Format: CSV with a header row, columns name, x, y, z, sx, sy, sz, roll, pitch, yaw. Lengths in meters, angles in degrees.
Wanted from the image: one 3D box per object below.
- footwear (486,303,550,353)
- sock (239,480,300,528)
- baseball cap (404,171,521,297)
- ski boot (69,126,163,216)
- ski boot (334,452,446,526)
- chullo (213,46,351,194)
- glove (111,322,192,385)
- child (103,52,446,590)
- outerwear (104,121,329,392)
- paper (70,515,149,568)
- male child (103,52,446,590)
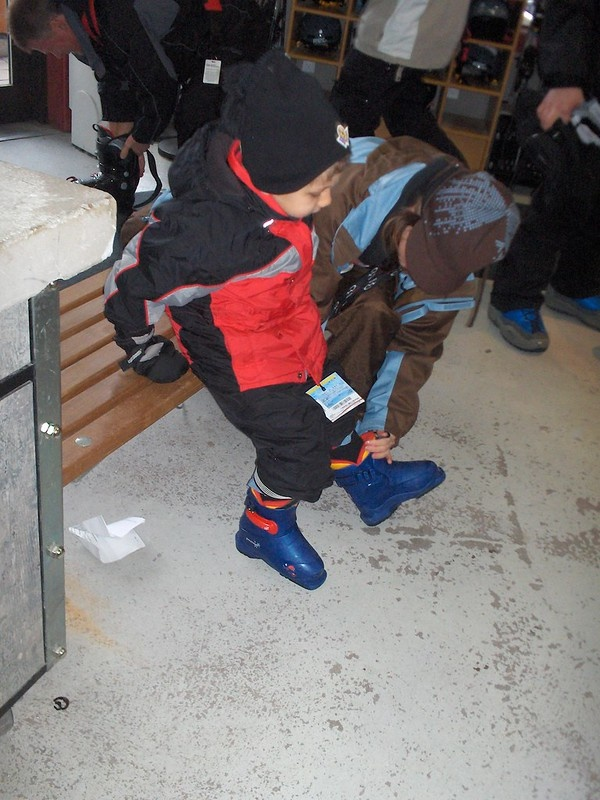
name,x,y,z,sx,sy,sz,roll,pitch,yaw
footwear,0.766,-0.270,2.320,0.097,0.115,0.268,-20,49,-19
sock,-0.073,0.204,1.361,0.111,0.088,0.084,17,27,26
baseball cap,0.319,-0.343,1.355,0.192,0.266,0.146,42,-7,-28
ski boot,-0.756,-0.871,2.390,0.407,0.315,0.131,-12,45,-22
ski boot,0.206,0.219,1.518,0.192,0.131,0.064,-24,44,1
chullo,-0.008,-0.412,0.967,0.173,0.196,0.106,14,31,-1
glove,-0.354,-0.093,1.437,0.179,0.086,0.239,-1,7,-10
child,-0.035,-0.131,1.303,0.640,0.970,0.484,25,45,33
outerwear,-0.127,-0.243,1.207,0.465,0.504,0.242,4,33,-16
paper,-0.401,0.289,1.327,0.095,0.045,0.121,43,35,19
male child,-0.050,-0.144,1.323,0.648,1.004,0.506,24,42,31
